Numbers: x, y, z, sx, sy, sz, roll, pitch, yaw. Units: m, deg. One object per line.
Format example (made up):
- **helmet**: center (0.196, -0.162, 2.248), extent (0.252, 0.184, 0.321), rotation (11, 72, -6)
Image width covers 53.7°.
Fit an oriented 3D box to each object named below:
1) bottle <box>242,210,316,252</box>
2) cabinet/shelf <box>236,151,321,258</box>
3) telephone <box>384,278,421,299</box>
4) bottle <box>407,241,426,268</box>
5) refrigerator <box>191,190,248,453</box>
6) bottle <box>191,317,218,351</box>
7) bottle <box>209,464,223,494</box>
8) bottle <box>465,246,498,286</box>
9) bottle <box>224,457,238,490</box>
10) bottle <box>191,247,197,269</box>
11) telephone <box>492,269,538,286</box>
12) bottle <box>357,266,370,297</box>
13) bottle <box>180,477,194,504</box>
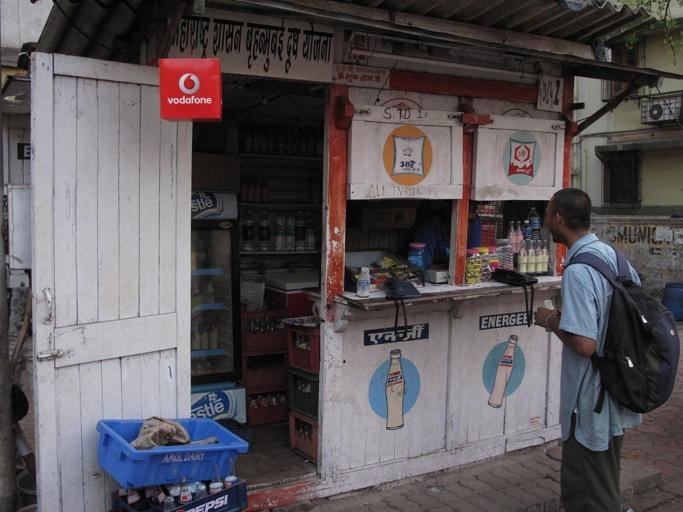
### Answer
- **bottle**: center (-0.752, -0.298, 8.322), extent (1.049, 0.461, 0.321), rotation (0, 10, -26)
- **cabinet/shelf**: center (-0.819, -0.607, 8.301), extent (1.176, 1.193, 0.386), rotation (2, -6, -31)
- **telephone**: center (0.504, 0.278, 5.618), extent (0.195, 0.069, 0.197), rotation (6, 16, -36)
- **bottle**: center (0.675, -0.005, 6.162), extent (0.189, 0.343, 0.192), rotation (0, 4, 0)
- **refrigerator**: center (-1.211, 0.511, 6.643), extent (0.604, 2.266, 0.414), rotation (2, 9, -14)
- **bottle**: center (-1.388, 0.787, 6.737), extent (0.301, 0.328, 0.098), rotation (5, -11, -33)
- **bottle**: center (-0.859, 1.507, 4.577), extent (0.082, 0.182, 0.079), rotation (4, 9, -1)
- **bottle**: center (1.326, 0.084, 6.373), extent (0.150, 0.315, 0.515), rotation (12, 12, 40)
- **bottle**: center (-0.759, 1.470, 4.670), extent (0.089, 0.183, 0.189), rotation (5, 10, 5)
- **bottle**: center (-1.460, 0.025, 6.629), extent (0.045, 0.196, 0.077), rotation (5, 9, 4)
- **telephone**: center (1.599, 0.211, 6.255), extent (0.272, 0.072, 0.188), rotation (20, -4, 4)
- **bottle**: center (0.184, 0.215, 5.671), extent (0.107, 0.235, 0.130), rotation (5, 9, 2)
- **bottle**: center (-1.028, 1.550, 4.455), extent (0.091, 0.138, 0.060), rotation (-2, 11, -35)
